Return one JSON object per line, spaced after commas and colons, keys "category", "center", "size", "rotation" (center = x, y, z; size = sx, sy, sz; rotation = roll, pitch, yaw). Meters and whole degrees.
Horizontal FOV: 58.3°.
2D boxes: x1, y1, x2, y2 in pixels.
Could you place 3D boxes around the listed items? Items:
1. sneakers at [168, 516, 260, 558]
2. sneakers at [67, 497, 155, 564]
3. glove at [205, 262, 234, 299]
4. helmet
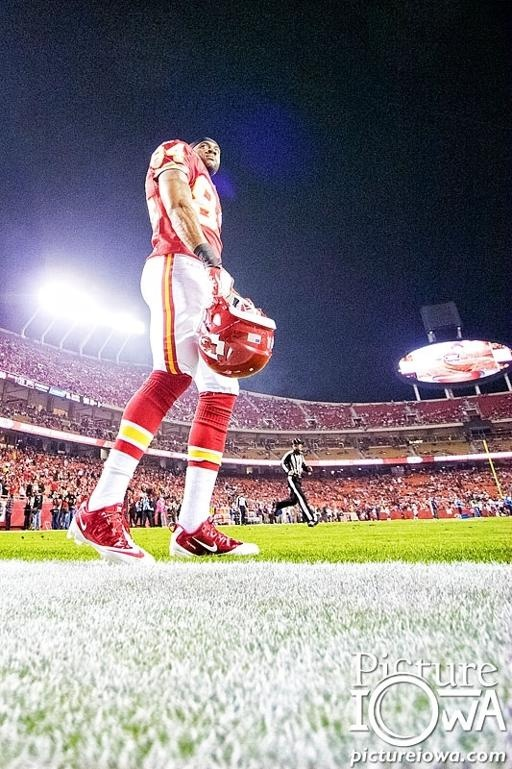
{"category": "sneakers", "center": [-0.191, 0.865, 2.625], "size": [0.618, 0.209, 0.185], "rotation": [3, -13, -10]}
{"category": "sneakers", "center": [-0.671, 0.677, 2.142], "size": [0.382, 0.255, 0.196], "rotation": [7, -18, -17]}
{"category": "glove", "center": [-0.146, -0.470, 2.068], "size": [0.104, 0.214, 0.088], "rotation": [-17, -58, -11]}
{"category": "helmet", "center": [-0.083, -0.261, 2.016], "size": [0.331, 0.428, 0.290], "rotation": [4, -18, -4]}
